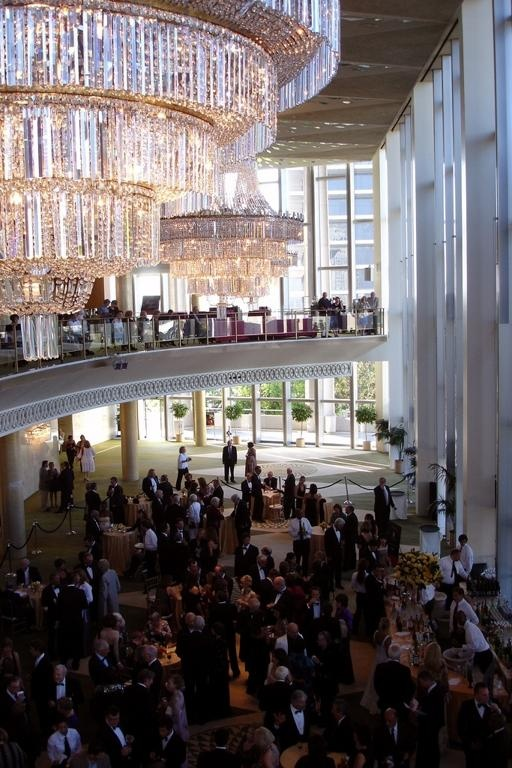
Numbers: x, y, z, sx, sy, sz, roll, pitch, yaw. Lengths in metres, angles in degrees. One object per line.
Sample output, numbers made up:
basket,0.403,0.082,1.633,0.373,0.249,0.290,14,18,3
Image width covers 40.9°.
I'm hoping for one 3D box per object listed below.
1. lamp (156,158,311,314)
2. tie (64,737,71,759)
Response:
lamp,-0.180,-1.770,7.694,1.470,1.891,1.591,0,-2,1
tie,-1.401,2.712,5.094,0.044,0.128,0.099,-2,2,-17
